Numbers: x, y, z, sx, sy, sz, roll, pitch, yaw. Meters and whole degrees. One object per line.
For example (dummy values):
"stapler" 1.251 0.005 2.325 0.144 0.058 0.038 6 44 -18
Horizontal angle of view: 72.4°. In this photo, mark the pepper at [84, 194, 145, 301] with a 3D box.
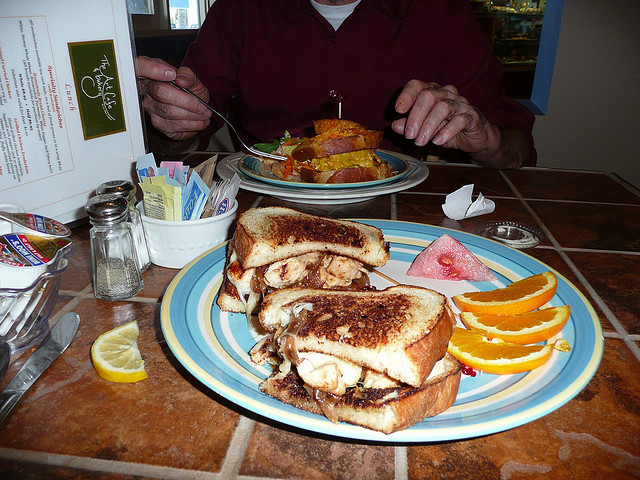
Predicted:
"pepper" -0.637 0.029 1.346 0.154 0.296 0.139 -7 17 -22

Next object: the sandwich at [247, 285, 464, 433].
"sandwich" 0.079 0.248 1.147 0.532 0.154 0.509 3 21 14

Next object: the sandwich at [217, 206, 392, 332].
"sandwich" -0.053 0.029 1.455 0.544 0.142 0.459 14 24 22

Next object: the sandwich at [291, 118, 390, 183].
"sandwich" 0.037 -0.456 2.266 0.540 0.319 0.365 -6 12 -37

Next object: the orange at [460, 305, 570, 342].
"orange" 0.516 0.228 1.156 0.165 0.048 0.128 -18 6 31

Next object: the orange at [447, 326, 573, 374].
"orange" 0.423 0.266 1.096 0.169 0.082 0.272 -5 2 -38

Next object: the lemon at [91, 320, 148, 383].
"lemon" -0.505 0.282 1.097 0.121 0.042 0.178 -3 40 -29

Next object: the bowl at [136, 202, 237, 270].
"bowl" -0.454 -0.012 1.403 0.251 0.104 0.227 1 19 -1
